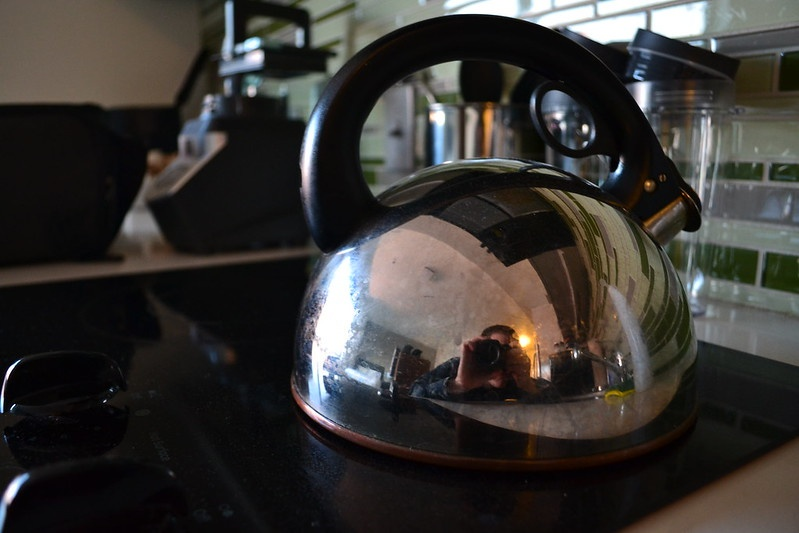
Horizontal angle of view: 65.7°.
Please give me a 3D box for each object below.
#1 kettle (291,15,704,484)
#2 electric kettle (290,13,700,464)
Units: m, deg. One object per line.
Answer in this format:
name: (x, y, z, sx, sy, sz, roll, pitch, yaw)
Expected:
kettle: (0.105, -0.049, 0.645, 0.417, 0.381, 0.388, -2, 13, -5)
electric kettle: (0.115, -0.051, 0.652, 0.416, 0.381, 0.385, -1, 10, -6)
